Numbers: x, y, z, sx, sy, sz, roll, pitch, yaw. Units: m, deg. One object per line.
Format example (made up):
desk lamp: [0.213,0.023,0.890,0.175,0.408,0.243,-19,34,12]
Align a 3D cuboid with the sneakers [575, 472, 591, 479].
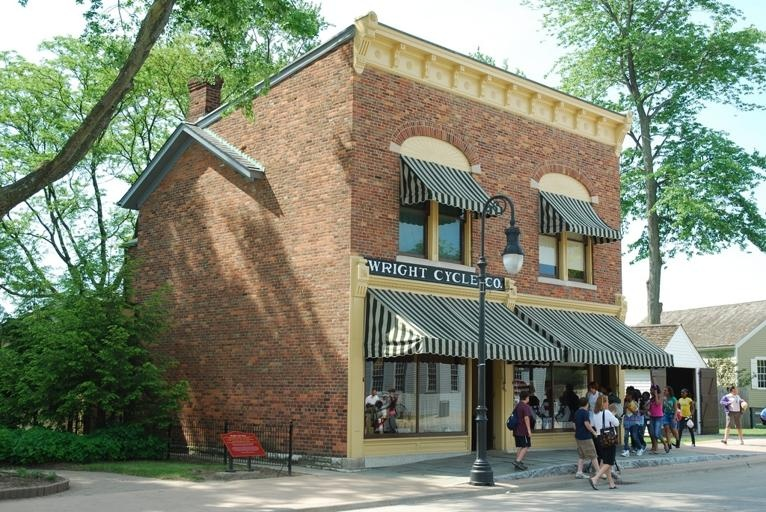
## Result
sneakers: [6.859,7.594,28.823,0.595,0.226,0.231,8,-6,-39]

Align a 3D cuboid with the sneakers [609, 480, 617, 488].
sneakers: [7.477,7.492,27.230,0.304,0.241,0.505,-5,-16,11]

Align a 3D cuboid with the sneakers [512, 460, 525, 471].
sneakers: [4.773,7.416,29.317,0.505,0.227,0.169,15,-28,36]

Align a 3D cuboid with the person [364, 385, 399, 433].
person: [0.015,5.647,30.377,1.367,1.556,0.337,6,-17,-27]

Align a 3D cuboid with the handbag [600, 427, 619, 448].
handbag: [7.407,6.008,27.586,0.609,0.632,0.348,-2,-15,0]

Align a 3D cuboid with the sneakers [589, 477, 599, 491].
sneakers: [6.841,7.432,27.065,0.105,0.338,0.190,-26,-7,1]
